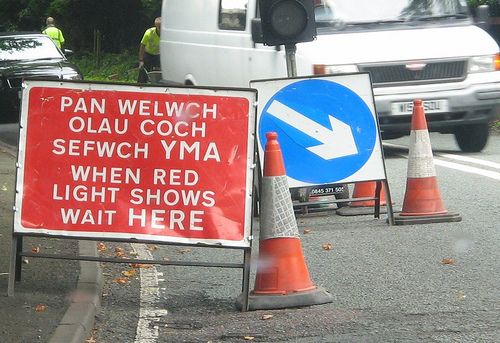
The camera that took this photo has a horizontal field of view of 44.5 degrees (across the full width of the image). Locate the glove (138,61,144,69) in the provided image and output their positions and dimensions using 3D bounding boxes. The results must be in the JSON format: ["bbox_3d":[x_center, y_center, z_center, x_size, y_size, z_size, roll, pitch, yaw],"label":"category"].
[{"bbox_3d":[-3.192,-3.150,17.999,0.152,0.180,0.058,-2,8,-14],"label":"glove"}]

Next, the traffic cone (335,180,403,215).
[{"bbox_3d":[1.481,0.342,7.596,0.521,0.495,0.540,-4,6,-38],"label":"traffic cone"}]
